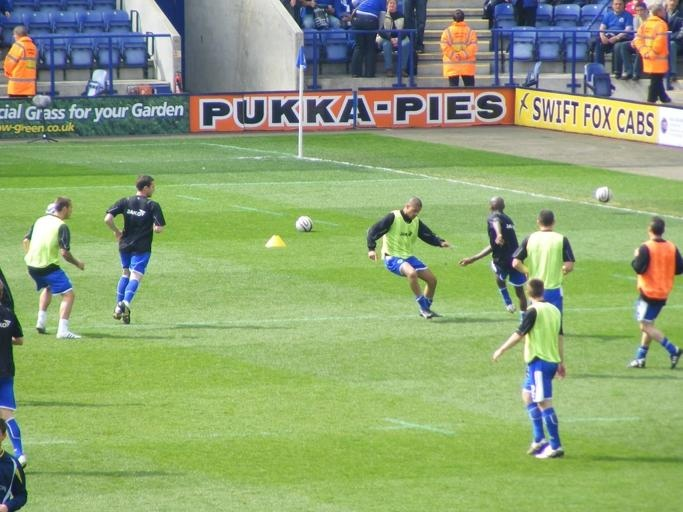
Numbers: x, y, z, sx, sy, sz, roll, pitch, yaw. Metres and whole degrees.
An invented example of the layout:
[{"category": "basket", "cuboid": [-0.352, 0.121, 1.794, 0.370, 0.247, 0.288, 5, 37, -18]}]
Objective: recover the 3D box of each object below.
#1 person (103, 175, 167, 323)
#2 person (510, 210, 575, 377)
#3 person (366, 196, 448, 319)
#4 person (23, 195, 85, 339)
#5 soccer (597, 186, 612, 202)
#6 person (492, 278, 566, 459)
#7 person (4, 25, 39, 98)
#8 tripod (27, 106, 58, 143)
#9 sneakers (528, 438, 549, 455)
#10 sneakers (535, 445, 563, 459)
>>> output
[{"category": "person", "cuboid": [-3.401, -0.112, 27.303, 0.936, 2.446, 0.763, -1, 7, -8]}, {"category": "person", "cuboid": [3.208, 0.436, 25.992, 0.943, 2.437, 0.611, 3, 18, 16]}, {"category": "person", "cuboid": [1.071, 0.003, 27.813, 1.226, 2.009, 0.665, 0, 7, 2]}, {"category": "person", "cuboid": [-4.612, 0.162, 26.506, 0.872, 2.286, 0.888, -2, 7, -17]}, {"category": "soccer", "cuboid": [5.514, -1.343, 35.058, 0.328, 0.242, 0.325, -11, 42, 23]}, {"category": "person", "cuboid": [2.703, 1.518, 22.857, 0.750, 2.450, 0.840, 1, 7, 7]}, {"category": "person", "cuboid": [-8.689, -5.284, 44.845, 0.777, 1.875, 0.831, -1, 7, -11]}, {"category": "tripod", "cuboid": [-8.086, -3.628, 45.282, 0.861, 0.900, 0.906, 0, 9, -15]}, {"category": "sneakers", "cuboid": [2.690, 2.624, 22.789, 0.341, 0.154, 0.135, -35, 8, 19]}, {"category": "sneakers", "cuboid": [2.822, 2.689, 22.735, 0.421, 0.175, 0.150, 2, 0, 2]}]
